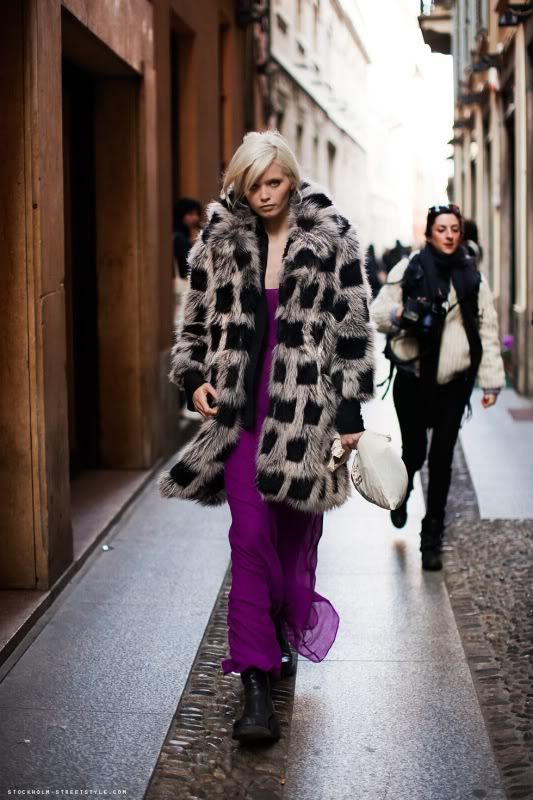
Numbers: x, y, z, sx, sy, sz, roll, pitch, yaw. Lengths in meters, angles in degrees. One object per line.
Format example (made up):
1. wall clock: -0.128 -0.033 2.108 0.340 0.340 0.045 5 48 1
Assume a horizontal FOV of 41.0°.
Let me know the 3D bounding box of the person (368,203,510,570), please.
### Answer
1. person: 0.841 -0.062 3.581 0.647 1.767 0.530 -1 0 32

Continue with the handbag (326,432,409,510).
1. handbag: 0.293 0.192 1.983 0.172 0.245 0.124 -39 -11 7

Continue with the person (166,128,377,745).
1. person: 0.021 0.101 2.034 0.494 1.654 0.530 -1 0 -28
